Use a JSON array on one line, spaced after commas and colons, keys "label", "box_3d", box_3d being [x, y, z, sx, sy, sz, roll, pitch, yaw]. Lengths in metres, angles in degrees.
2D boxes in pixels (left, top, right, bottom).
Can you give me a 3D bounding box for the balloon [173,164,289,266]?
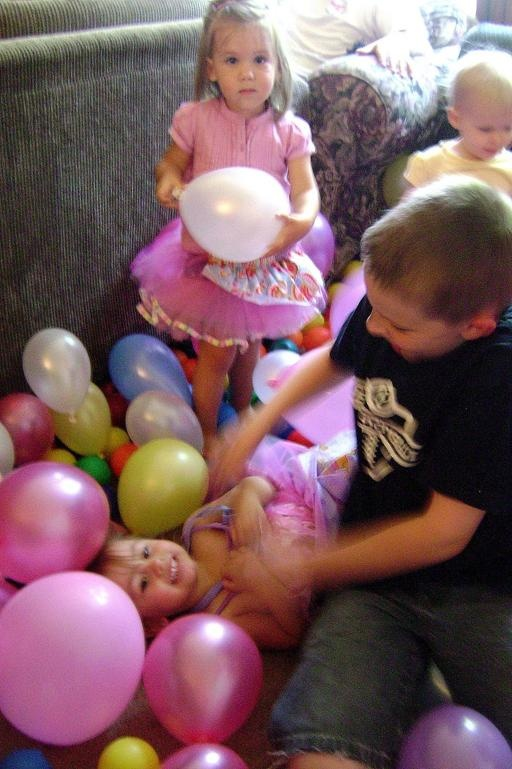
[{"label": "balloon", "box_3d": [-0.037, -0.298, 1.185, 0.205, 0.147, 0.153, 14, 34, -13]}]
